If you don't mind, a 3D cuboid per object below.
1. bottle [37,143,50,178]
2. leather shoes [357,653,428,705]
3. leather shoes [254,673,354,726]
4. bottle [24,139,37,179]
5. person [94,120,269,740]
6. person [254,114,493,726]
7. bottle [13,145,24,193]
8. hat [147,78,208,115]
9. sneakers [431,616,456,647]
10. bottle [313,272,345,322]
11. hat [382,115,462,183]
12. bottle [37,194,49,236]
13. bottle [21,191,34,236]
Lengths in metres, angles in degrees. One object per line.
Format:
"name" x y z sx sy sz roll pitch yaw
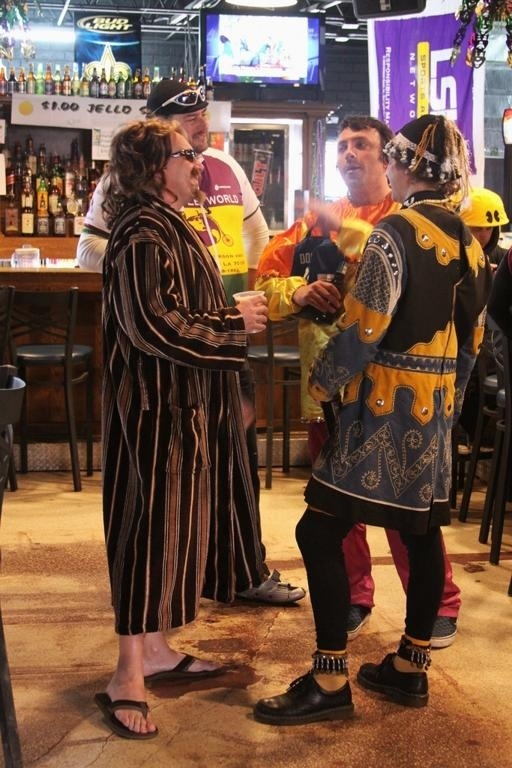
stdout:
"bottle" -1.797 -1.855 5.907 0.105 0.307 0.216 0 4 -18
"leather shoes" 0.338 0.733 1.795 0.094 0.099 0.221 1 0 -41
"leather shoes" 0.109 0.739 1.671 0.244 0.105 0.101 1 -5 -2
"bottle" -1.883 -1.883 5.894 0.091 0.332 0.214 2 4 4
"person" -0.160 0.097 1.643 0.396 1.382 0.400 0 4 -27
"person" 0.310 0.083 1.689 0.302 1.429 0.546 5 5 43
"bottle" -1.969 -1.787 5.852 0.088 0.407 0.087 2 4 0
"hat" -0.253 -0.855 2.147 0.182 0.049 0.165 -1 15 24
"sneakers" 0.560 0.745 2.113 0.067 0.064 0.161 -1 -13 13
"bottle" 0.194 -0.227 1.866 0.095 0.121 0.040 6 -1 42
"hat" 0.387 -0.556 1.665 0.177 0.123 0.159 7 25 20
"bottle" -1.758 -1.399 5.807 0.090 0.356 0.065 1 4 -8
"bottle" -1.899 -1.409 5.844 0.109 0.374 0.173 0 4 -18
